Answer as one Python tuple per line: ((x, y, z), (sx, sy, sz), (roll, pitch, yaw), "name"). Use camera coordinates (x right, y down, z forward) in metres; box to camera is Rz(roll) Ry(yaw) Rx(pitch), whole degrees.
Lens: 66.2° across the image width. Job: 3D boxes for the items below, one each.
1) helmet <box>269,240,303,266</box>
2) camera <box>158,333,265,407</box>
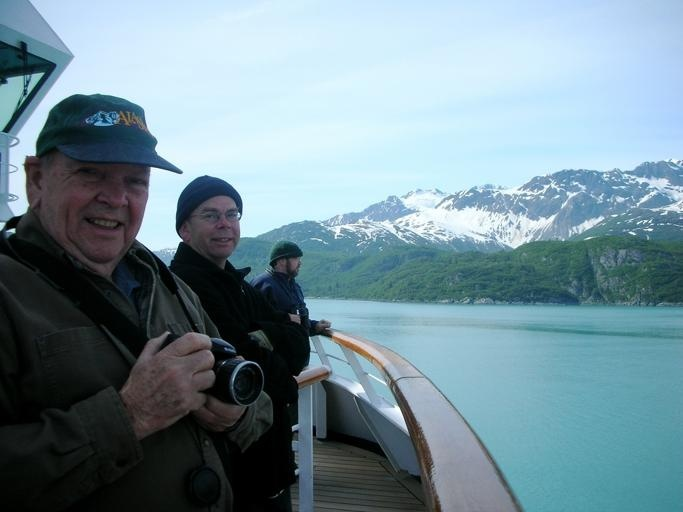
((-0.795, -0.062, 7.503), (0.391, 0.262, 0.388), (-6, -1, 11), "helmet")
((-0.596, 0.552, 2.529), (0.352, 0.284, 0.479), (3, -11, 37), "camera")
